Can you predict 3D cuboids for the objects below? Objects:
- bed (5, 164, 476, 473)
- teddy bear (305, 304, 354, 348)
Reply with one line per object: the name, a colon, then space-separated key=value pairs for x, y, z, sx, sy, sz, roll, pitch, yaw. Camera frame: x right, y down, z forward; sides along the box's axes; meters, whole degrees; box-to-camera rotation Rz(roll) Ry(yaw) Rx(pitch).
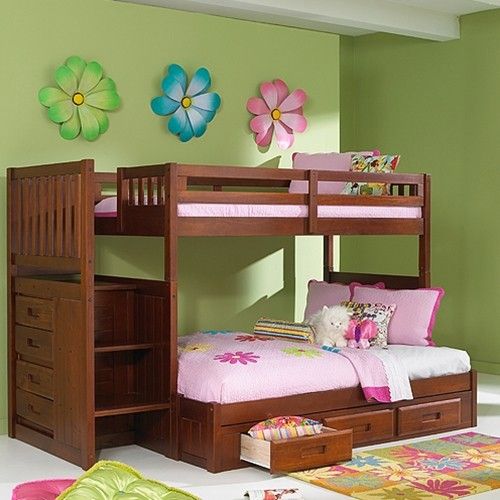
bed: x=-0.134 y=0.279 z=3.196 sx=2.377 sy=1.591 sz=1.282 roll=2 pitch=-5 yaw=-21
teddy bear: x=0.492 y=0.467 z=3.436 sx=0.172 sy=0.223 sz=0.283 roll=2 pitch=-1 yaw=-18
